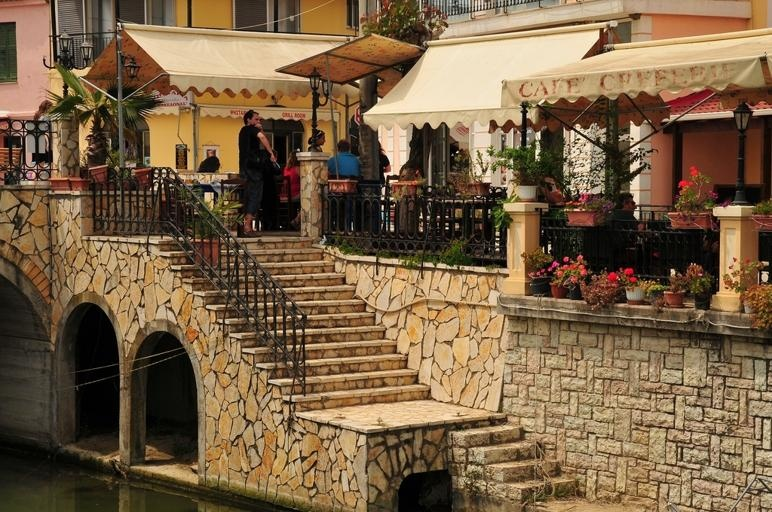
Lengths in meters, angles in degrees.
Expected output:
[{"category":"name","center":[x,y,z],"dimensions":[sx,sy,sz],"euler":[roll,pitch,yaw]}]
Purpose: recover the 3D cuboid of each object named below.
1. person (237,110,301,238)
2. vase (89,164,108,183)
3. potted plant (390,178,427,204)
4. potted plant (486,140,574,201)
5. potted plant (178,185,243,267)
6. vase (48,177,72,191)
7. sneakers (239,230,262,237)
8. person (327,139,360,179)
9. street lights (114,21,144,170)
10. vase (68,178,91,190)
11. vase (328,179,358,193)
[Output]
[{"category":"person","center":[-2.746,-1.726,27.179],"dimensions":[0.754,2.684,1.343],"euler":[0,-2,2]},{"category":"vase","center":[-6.112,-1.713,27.059],"dimensions":[0.639,0.388,0.137],"euler":[-2,-2,43]},{"category":"potted plant","center":[0.424,-1.304,25.319],"dimensions":[0.731,0.443,0.514],"euler":[0,-2,8]},{"category":"potted plant","center":[2.754,-1.580,23.847],"dimensions":[1.364,1.145,0.819],"euler":[0,-2,9]},{"category":"potted plant","center":[-3.493,-0.585,25.448],"dimensions":[1.010,1.679,1.968],"euler":[1,-2,-40]},{"category":"vase","center":[-7.072,-1.543,27.518],"dimensions":[0.815,0.316,0.181],"euler":[-2,-2,45]},{"category":"sneakers","center":[-2.876,-0.454,26.838],"dimensions":[0.396,0.182,0.175],"euler":[-1,3,-7]},{"category":"person","center":[-0.879,-2.059,27.448],"dimensions":[0.704,1.472,0.752],"euler":[0,4,4]},{"category":"street lights","center":[-5.522,-3.285,27.229],"dimensions":[0.494,3.202,0.481],"euler":[-6,-7,21]},{"category":"vase","center":[-6.576,-1.522,27.198],"dimensions":[0.556,0.297,0.198],"euler":[-2,-2,36]},{"category":"vase","center":[-0.911,-1.453,26.610],"dimensions":[0.402,0.215,0.300],"euler":[3,6,21]}]
